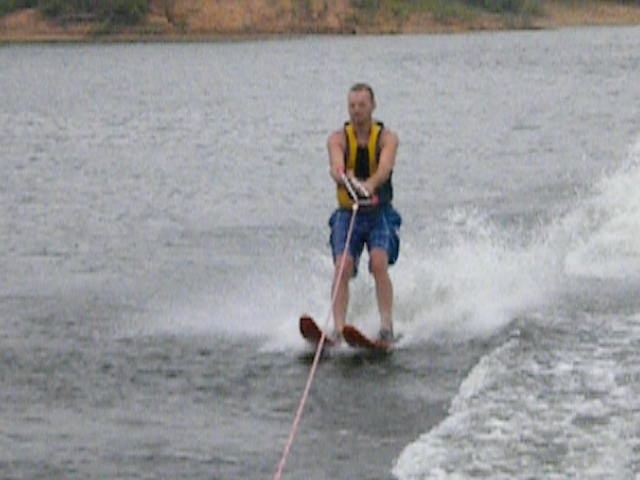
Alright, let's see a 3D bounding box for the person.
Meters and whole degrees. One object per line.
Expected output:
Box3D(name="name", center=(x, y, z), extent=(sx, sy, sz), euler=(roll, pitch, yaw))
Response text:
Box3D(name="person", center=(0.194, -0.114, 6.143), extent=(0.334, 0.899, 0.735), euler=(-4, 42, 4))
